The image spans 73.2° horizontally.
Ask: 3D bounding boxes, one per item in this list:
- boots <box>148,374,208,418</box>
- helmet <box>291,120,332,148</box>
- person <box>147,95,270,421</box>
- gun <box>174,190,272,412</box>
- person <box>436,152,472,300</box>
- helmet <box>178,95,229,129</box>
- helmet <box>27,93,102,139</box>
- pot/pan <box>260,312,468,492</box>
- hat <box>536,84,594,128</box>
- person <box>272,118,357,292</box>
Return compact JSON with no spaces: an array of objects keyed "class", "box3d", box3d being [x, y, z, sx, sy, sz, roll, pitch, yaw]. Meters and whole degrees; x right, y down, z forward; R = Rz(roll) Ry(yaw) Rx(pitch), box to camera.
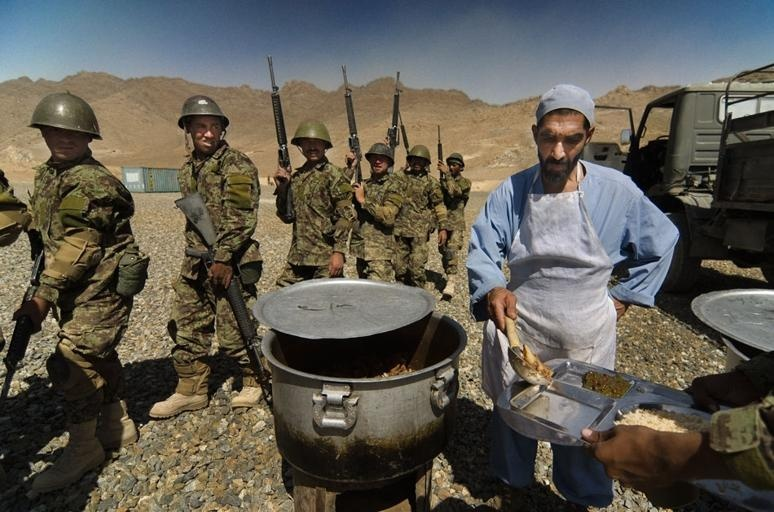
[{"class":"boots","box3d":[-1.930,1.373,5.063,0.696,0.415,0.234,1,3,-23]},{"class":"helmet","box3d":[-0.824,-1.351,5.704,0.428,0.243,0.493,0,9,-1]},{"class":"person","box3d":[-1.379,0.051,5.206,1.214,2.930,1.263,0,-7,1]},{"class":"gun","box3d":[-1.547,0.504,4.871,0.935,2.324,0.248,-15,-5,-6]},{"class":"person","box3d":[1.269,-0.574,8.790,0.806,2.281,0.736,1,-5,-5]},{"class":"helmet","box3d":[-1.751,-1.368,4.931,0.437,0.308,0.424,-5,16,-15]},{"class":"helmet","box3d":[-2.643,-1.147,4.251,0.486,0.383,0.342,-10,18,-30]},{"class":"pot/pan","box3d":[-0.112,1.079,3.672,1.393,0.934,0.682,-5,16,-14]},{"class":"hat","box3d":[1.260,-1.056,3.670,0.382,0.282,0.187,4,17,16]},{"class":"person","box3d":[-0.797,-0.562,5.662,0.896,1.774,1.018,-12,20,-34]}]
